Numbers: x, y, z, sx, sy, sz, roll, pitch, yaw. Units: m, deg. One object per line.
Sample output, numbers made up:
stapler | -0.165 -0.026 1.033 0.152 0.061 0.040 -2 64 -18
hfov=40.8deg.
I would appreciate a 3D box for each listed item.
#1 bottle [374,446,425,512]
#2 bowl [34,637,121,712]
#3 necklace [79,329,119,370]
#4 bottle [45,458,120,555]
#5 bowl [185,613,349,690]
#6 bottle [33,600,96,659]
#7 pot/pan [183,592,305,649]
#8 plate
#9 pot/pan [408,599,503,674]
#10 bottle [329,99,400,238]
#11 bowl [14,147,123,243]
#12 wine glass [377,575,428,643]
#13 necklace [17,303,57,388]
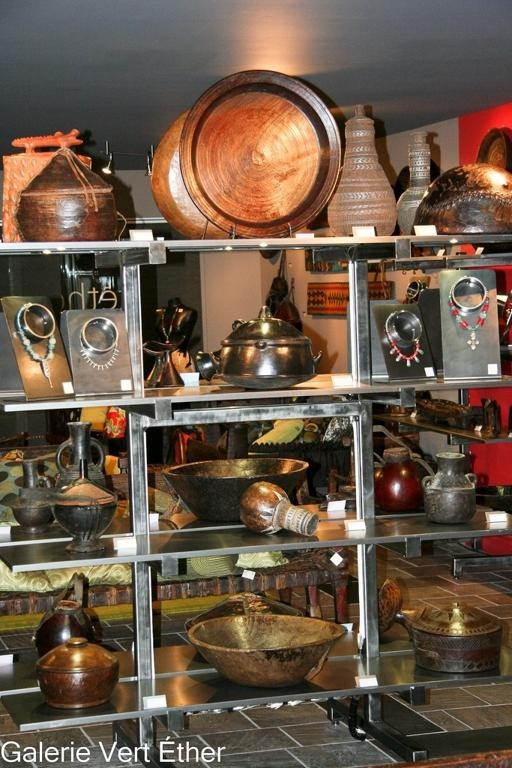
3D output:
bottle | 0.519 0.350 2.517 0.260 0.226 0.190 0 0 13
bowl | -0.513 0.807 2.009 0.221 0.145 0.214 0 4 0
necklace | -0.468 -0.098 2.074 0.121 0.115 0.067 -1 1 -24
bottle | -0.481 0.382 2.096 0.222 0.272 0.208 0 3 0
bowl | 0.036 0.845 2.164 0.491 0.190 0.395 0 1 -5
bottle | -0.579 0.732 2.157 0.189 0.189 0.206 4 -4 -34
pot/pan | -0.053 0.844 2.457 0.574 0.198 0.531 0 -18 -7
plate | -0.196 -0.627 2.032 0.230 0.394 0.377 0 1 -2
pot/pan | 0.712 0.855 2.385 0.241 0.152 0.239 -5 -7 37
bottle | 0.336 -0.679 2.239 0.212 0.413 0.150 0 1 20
bowl | -0.548 -0.537 1.988 0.307 0.255 0.286 2 17 -1
wine glass | 0.536 0.854 2.584 0.107 0.149 0.216 9 11 -23
necklace | -0.654 -0.104 2.052 0.116 0.258 0.048 -12 -12 -37
